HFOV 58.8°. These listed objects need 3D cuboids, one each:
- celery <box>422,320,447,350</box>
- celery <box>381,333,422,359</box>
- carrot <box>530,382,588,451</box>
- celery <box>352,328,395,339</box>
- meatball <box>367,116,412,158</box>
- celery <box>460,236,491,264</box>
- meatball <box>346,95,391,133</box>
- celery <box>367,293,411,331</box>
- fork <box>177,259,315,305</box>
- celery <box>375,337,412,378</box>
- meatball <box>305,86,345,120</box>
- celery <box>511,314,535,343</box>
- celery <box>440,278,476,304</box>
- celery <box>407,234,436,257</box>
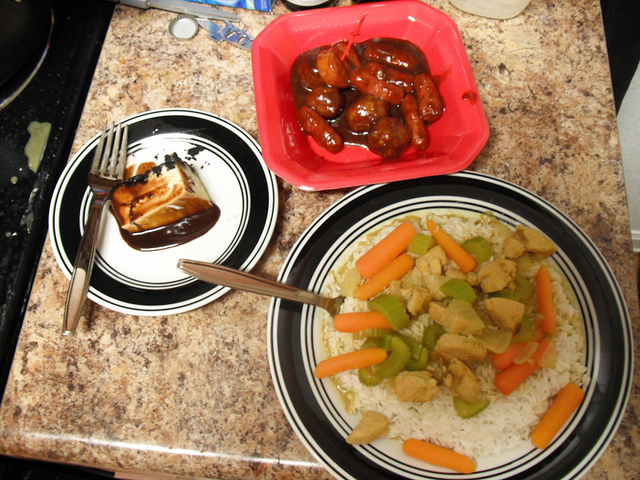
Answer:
[{"bbox_3d":[0.566,0.479,2.872,0.087,0.078,0.139,36,88,6],"label":"celery"},{"bbox_3d":[0.409,0.522,2.867,0.119,0.057,0.164,-24,57,-39],"label":"celery"},{"bbox_3d":[1.207,0.864,2.877,0.147,0.499,0.146,35,125,32],"label":"carrot"},{"bbox_3d":[0.280,0.471,2.891,0.194,0.037,0.067,0,90,3],"label":"celery"},{"bbox_3d":[0.384,-0.572,3.149,0.245,0.142,0.207,13,86,4],"label":"meatball"},{"bbox_3d":[0.814,0.042,2.924,0.112,0.059,0.150,-44,84,-1],"label":"celery"},{"bbox_3d":[0.271,-0.712,3.193,0.190,0.133,0.220,0,85,4],"label":"meatball"},{"bbox_3d":[0.361,0.356,2.887,0.250,0.132,0.131,37,88,6],"label":"celery"},{"bbox_3d":[-0.389,0.212,2.865,0.684,0.032,0.090,18,85,-5],"label":"fork"},{"bbox_3d":[0.378,0.606,2.827,0.137,0.066,0.210,31,87,5],"label":"celery"},{"bbox_3d":[0.024,-0.788,3.226,0.222,0.102,0.188,1,85,3],"label":"meatball"},{"bbox_3d":[1.008,0.434,2.794,0.117,0.027,0.133,9,83,11],"label":"celery"},{"bbox_3d":[0.688,0.245,2.876,0.119,0.035,0.138,11,61,2],"label":"celery"},{"bbox_3d":[0.514,0.016,2.928,0.104,0.073,0.111,30,72,32],"label":"celery"}]
